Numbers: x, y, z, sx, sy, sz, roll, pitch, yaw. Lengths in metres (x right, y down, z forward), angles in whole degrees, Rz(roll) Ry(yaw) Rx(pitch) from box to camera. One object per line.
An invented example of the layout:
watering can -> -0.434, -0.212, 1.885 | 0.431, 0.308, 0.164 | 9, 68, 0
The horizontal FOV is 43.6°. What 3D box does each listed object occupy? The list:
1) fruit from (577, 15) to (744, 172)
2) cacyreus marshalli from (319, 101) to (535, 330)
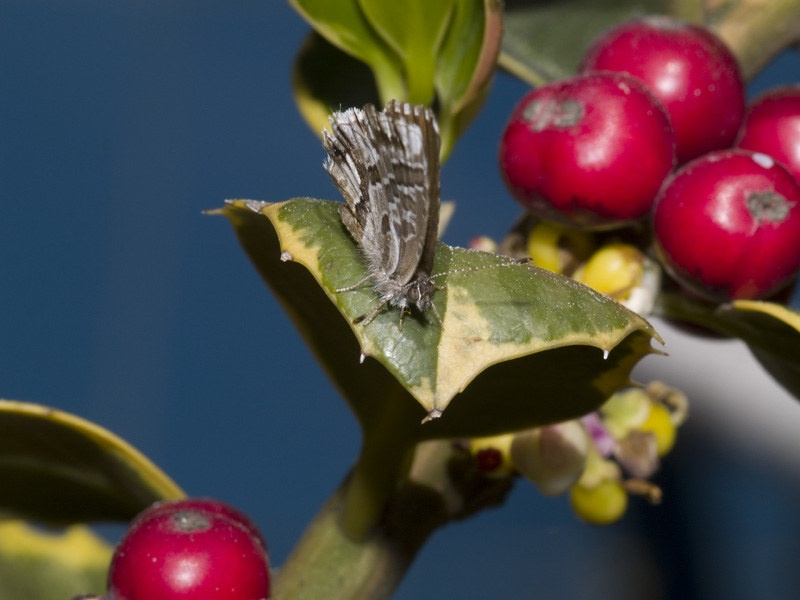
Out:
fruit -> 0.370, -0.283, 1.471 | 0.195, 0.206, 0.197 | 4, 3, -7
cacyreus marshalli -> 0.049, -0.110, 1.302 | 0.167, 0.289, 0.278 | -15, -5, 8
